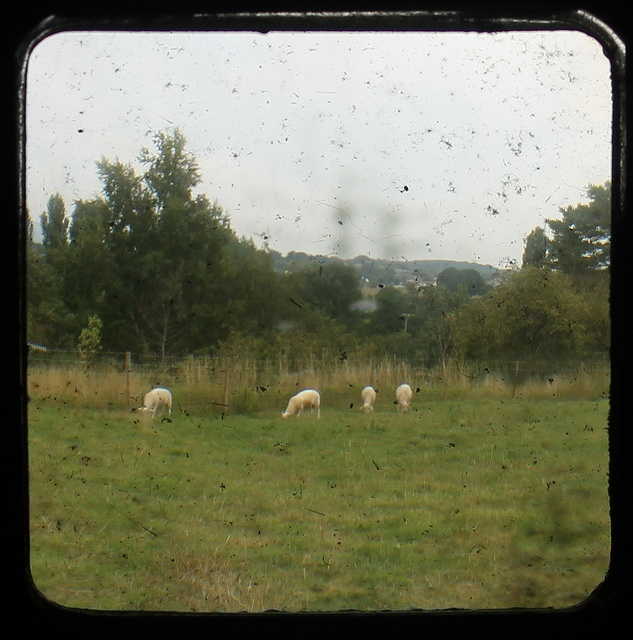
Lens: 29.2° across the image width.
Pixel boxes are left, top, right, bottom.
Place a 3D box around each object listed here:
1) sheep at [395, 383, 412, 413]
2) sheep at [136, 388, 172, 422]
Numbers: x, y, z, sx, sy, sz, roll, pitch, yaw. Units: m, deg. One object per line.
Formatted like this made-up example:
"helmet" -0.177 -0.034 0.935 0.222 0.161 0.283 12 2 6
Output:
"sheep" 1.426 1.294 19.933 0.279 0.562 0.910 0 -4 3
"sheep" -2.308 1.214 17.954 0.260 0.600 0.821 1 -5 17
